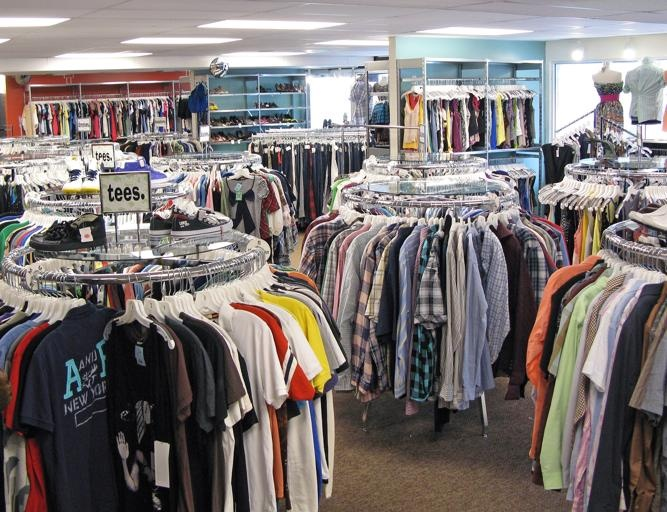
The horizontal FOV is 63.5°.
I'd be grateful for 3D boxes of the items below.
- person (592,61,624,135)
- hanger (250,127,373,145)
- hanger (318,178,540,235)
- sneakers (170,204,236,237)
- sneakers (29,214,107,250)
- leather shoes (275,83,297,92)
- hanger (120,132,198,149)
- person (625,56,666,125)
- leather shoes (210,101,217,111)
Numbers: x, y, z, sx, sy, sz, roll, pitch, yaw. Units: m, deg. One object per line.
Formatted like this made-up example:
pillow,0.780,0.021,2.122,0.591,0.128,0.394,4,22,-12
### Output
person,3.742,-2.126,7.364,0.399,0.946,0.512,4,14,27
hanger,-0.351,-2.080,9.438,0.888,0.286,0.985,4,9,21
hanger,0.704,-0.422,4.026,1.242,0.195,1.201,1,15,15
sneakers,-0.661,-0.177,2.691,0.290,0.130,0.131,-6,9,-41
sneakers,-1.216,-0.112,2.518,0.347,0.164,0.156,-1,9,-14
leather shoes,-1.196,-4.038,13.120,0.388,0.266,0.179,-1,-24,-15
hanger,-2.978,-2.044,9.648,1.555,0.284,1.143,0,15,11
person,4.341,-2.295,7.560,0.509,0.902,0.683,5,15,30
leather shoes,-2.751,-3.376,12.212,0.124,0.082,0.210,-7,27,-19
